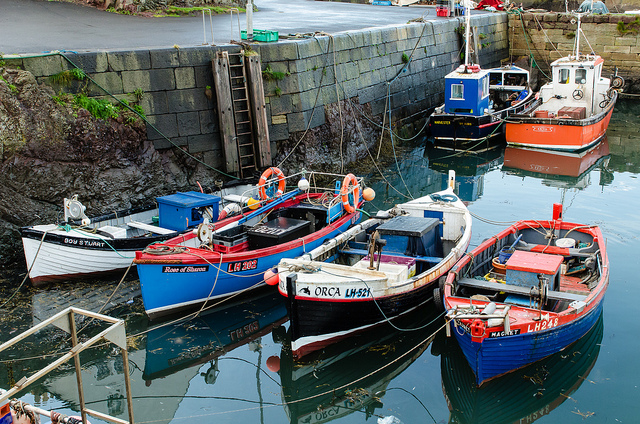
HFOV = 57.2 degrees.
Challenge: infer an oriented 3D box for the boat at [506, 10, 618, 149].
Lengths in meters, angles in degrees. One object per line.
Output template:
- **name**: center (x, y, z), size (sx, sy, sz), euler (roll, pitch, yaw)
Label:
- **boat**: center (10.044, -4.993, 23.178), size (2.497, 4.657, 7.557), euler (11, 32, 34)

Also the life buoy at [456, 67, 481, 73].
- **life buoy**: center (5.505, -5.278, 21.769), size (0.851, 0.124, 0.581), euler (-1, 22, 5)

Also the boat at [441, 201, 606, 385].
- **boat**: center (4.191, 1.442, 11.749), size (2.108, 1.584, 4.284), euler (9, 28, 36)

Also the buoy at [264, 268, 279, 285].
- **buoy**: center (-0.986, 1.308, 11.866), size (0.281, 0.283, 0.407), euler (-7, 22, -8)

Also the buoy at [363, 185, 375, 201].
- **buoy**: center (1.217, -0.482, 14.961), size (0.314, 0.367, 0.307), euler (-19, -5, -21)

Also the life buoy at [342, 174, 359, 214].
- **life buoy**: center (0.713, -0.513, 14.616), size (0.185, 0.798, 0.727), euler (2, 1, 18)

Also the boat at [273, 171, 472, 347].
- **boat**: center (1.624, 0.891, 12.749), size (2.845, 2.088, 5.782), euler (17, 29, 40)

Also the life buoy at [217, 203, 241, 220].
- **life buoy**: center (-2.178, -0.116, 14.423), size (0.192, 0.355, 0.949), euler (22, 22, 11)

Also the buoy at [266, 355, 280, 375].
- **buoy**: center (-0.919, 2.974, 11.574), size (0.255, 0.255, 0.293), euler (6, 66, 1)

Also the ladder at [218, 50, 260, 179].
- **ladder**: center (-2.236, -2.832, 17.120), size (0.622, 3.422, 1.169), euler (-6, 23, -7)

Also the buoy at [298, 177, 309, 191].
- **buoy**: center (-0.427, -0.712, 14.753), size (0.270, 0.365, 0.271), euler (-1, 33, 9)

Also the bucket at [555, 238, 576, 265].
- **bucket**: center (5.379, 0.827, 13.039), size (0.519, 0.519, 0.529), euler (-14, 28, 7)

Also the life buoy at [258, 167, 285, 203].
- **life buoy**: center (-1.254, -0.735, 14.718), size (0.210, 0.821, 0.776), euler (10, -10, 46)
